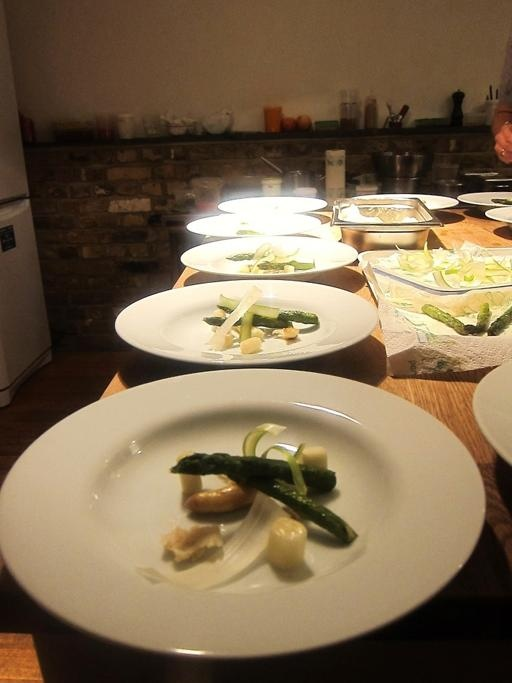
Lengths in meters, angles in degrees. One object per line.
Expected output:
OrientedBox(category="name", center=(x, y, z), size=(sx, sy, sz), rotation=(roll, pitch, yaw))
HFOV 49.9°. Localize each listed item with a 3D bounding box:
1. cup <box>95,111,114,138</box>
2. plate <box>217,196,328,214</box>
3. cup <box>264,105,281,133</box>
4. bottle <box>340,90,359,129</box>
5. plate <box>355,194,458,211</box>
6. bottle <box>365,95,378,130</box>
OrientedBox(category="cup", center=(-0.937, -1.313, 3.349), size=(0.127, 0.137, 0.076), rotation=(3, 28, 14))
OrientedBox(category="plate", center=(0.041, -0.451, 1.812), size=(0.201, 0.018, 0.183), rotation=(-6, 23, -13))
OrientedBox(category="cup", center=(0.103, -1.322, 3.269), size=(0.101, 0.133, 0.095), rotation=(-3, 27, 1))
OrientedBox(category="bottle", center=(0.554, -1.378, 3.267), size=(0.124, 0.208, 0.220), rotation=(1, 26, 10))
OrientedBox(category="plate", center=(0.434, -0.399, 1.581), size=(0.192, 0.023, 0.174), rotation=(-8, 22, -15))
OrientedBox(category="bottle", center=(0.690, -1.375, 3.291), size=(0.082, 0.174, 0.205), rotation=(2, 26, 12))
